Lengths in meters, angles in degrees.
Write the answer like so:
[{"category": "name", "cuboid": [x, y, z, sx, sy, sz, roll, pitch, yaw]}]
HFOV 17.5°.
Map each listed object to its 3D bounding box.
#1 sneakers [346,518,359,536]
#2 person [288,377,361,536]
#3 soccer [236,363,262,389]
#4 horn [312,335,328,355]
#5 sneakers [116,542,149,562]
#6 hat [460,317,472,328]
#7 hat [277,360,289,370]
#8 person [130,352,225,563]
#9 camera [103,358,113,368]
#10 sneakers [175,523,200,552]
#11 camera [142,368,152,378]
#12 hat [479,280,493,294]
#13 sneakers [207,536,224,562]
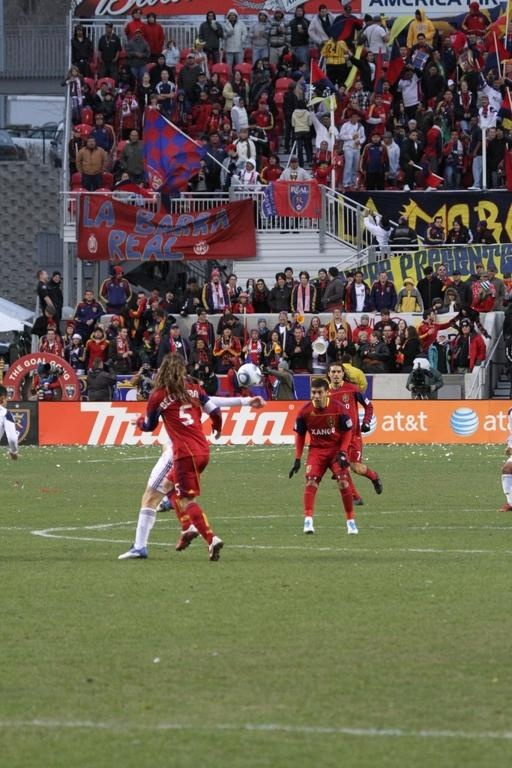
[{"category": "sneakers", "cuboid": [0.915, 1.341, 15.722, 0.106, 0.151, 0.385, 1, 5, 6]}, {"category": "person", "cuboid": [0.655, 0.688, 15.754, 0.628, 1.502, 0.720, 1, 5, 3]}, {"category": "soccer", "cuboid": [-0.059, -0.029, 14.068, 0.188, 0.210, 0.232, -7, 16, 7]}, {"category": "horn", "cuboid": [1.100, -0.664, 28.980, 0.231, 0.300, 0.233, 1, 10, 23]}, {"category": "sneakers", "cuboid": [-0.986, 1.394, 13.770, 0.283, 0.168, 0.098, -2, -12, 14]}, {"category": "hat", "cuboid": [3.587, -1.056, 28.609, 0.108, 0.158, 0.133, 9, 30, 23]}, {"category": "hat", "cuboid": [0.467, -0.320, 28.616, 0.133, 0.164, 0.174, 4, -5, 10]}, {"category": "person", "cuboid": [-0.629, 0.611, 13.385, 0.716, 1.702, 0.870, 0, 5, -3]}, {"category": "camera", "cuboid": [-2.615, -0.357, 29.808, 0.156, 0.149, 0.040, 3, -16, -35]}, {"category": "sneakers", "cuboid": [-0.566, 1.302, 14.079, 0.117, 0.305, 0.143, 29, 20, -21]}, {"category": "camera", "cuboid": [-1.873, -0.186, 28.781, 0.084, 0.152, 0.141, 8, -24, 3]}, {"category": "hat", "cuboid": [4.148, -1.725, 29.985, 0.169, 0.122, 0.227, -8, -39, 43]}, {"category": "sneakers", "cuboid": [-0.325, 1.324, 13.334, 0.090, 0.267, 0.147, -2, 40, -7]}]
